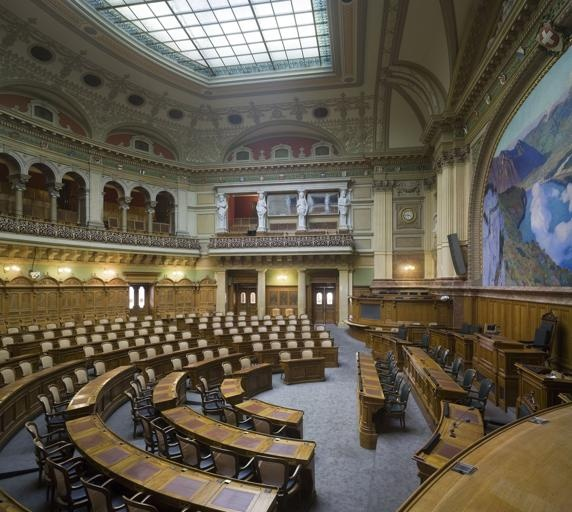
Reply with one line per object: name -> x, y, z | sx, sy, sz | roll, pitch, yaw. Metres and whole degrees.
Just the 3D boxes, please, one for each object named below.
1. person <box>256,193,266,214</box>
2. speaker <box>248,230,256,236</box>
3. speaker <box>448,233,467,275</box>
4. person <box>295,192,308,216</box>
person -> -1.550, -3.227, 26.058 | 0.700, 1.611, 0.470 | -10, -8, -2
speaker -> -2.129, -1.391, 25.056 | 0.523, 0.337, 0.277 | 0, -7, 1
speaker -> 6.778, -0.042, 15.983 | 0.575, 1.332, 0.596 | -16, -10, 38
person -> 1.045, -3.247, 25.580 | 0.733, 1.449, 0.601 | -8, -8, -14
